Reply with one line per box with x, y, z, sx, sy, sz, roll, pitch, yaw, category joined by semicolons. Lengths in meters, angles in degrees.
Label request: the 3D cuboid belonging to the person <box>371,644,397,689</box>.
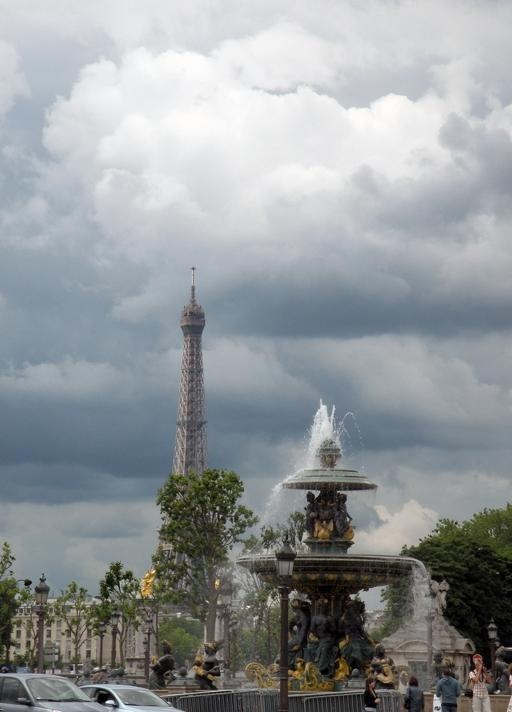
3.284;8.405;46.717;0.630;1.304;0.590;9;-28;-26;person
